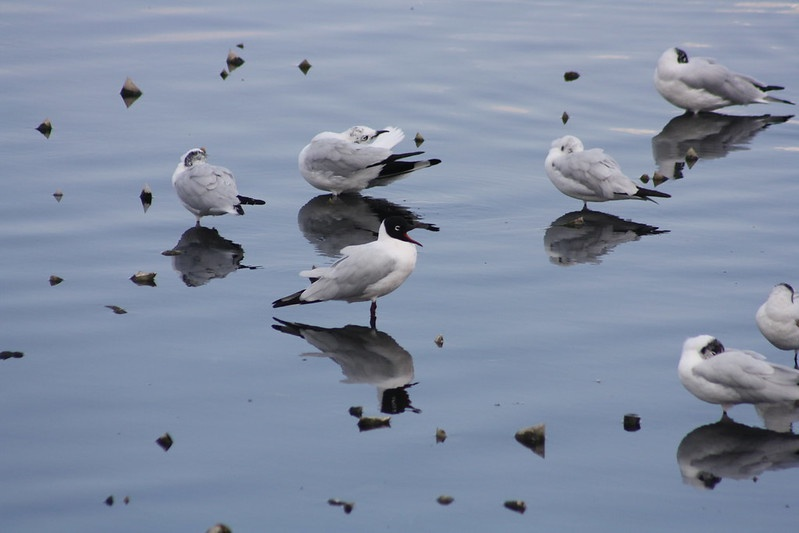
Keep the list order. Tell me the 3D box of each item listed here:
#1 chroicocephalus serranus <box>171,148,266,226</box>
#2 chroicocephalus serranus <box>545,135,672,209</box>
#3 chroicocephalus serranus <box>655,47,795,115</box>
[{"bbox_3d":[-2.996,-1.319,20.136,1.098,1.083,2.053,-20,31,-40],"label":"chroicocephalus serranus"},{"bbox_3d":[3.656,-1.560,20.574,1.273,1.018,2.284,-23,31,-36],"label":"chroicocephalus serranus"},{"bbox_3d":[6.862,-3.848,25.313,3.545,1.249,0.928,5,60,-5],"label":"chroicocephalus serranus"}]
